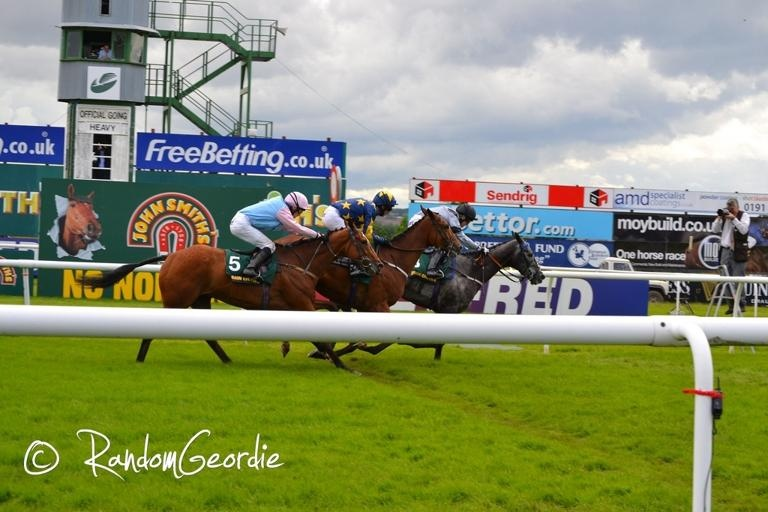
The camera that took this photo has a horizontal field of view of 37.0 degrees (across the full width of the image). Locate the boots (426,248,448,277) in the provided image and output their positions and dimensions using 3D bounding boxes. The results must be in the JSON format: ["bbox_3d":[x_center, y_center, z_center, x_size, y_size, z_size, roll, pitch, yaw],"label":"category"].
[{"bbox_3d":[0.484,0.062,10.335,0.243,0.299,0.089,2,-43,9],"label":"boots"}]

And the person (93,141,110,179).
[{"bbox_3d":[-6.102,-2.111,24.868,0.400,0.846,0.170,4,4,-15],"label":"person"}]

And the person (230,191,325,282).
[{"bbox_3d":[-0.941,-0.223,9.448,0.943,0.835,0.574,2,-1,-8],"label":"person"}]

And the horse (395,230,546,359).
[{"bbox_3d":[0.437,0.374,10.547,1.935,1.135,0.422,2,3,-6],"label":"horse"}]

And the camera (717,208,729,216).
[{"bbox_3d":[3.753,-0.487,12.747,0.084,0.066,0.273,-11,-3,20],"label":"camera"}]

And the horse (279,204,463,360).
[{"bbox_3d":[-0.133,0.390,10.215,0.472,1.438,2.260,11,-13,-40],"label":"horse"}]

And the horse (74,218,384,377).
[{"bbox_3d":[-1.168,0.317,9.043,2.342,0.971,0.400,0,-1,-17],"label":"horse"}]

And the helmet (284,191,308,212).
[{"bbox_3d":[-0.724,-0.459,9.843,0.208,0.107,0.135,22,19,-28],"label":"helmet"}]
